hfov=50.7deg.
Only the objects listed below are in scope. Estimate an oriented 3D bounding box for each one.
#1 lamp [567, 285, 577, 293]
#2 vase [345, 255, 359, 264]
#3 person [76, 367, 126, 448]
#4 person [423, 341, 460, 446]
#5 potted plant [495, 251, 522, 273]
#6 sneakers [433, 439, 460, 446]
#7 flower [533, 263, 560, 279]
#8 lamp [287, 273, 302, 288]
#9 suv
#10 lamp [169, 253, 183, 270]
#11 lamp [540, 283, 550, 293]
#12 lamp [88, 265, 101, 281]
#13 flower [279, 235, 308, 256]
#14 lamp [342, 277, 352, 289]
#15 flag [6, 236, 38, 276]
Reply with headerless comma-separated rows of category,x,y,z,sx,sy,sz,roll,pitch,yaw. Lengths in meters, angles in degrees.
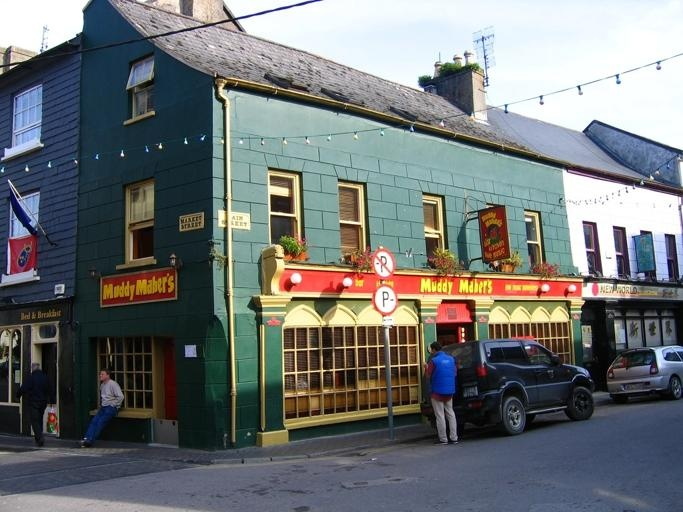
lamp,7.803,1.128,24.401,0.280,0.190,0.285,-1,-4,-17
vase,0.270,0.102,18.732,0.324,0.235,0.094,-5,-10,5
person,-5.989,3.831,18.207,0.978,1.840,0.721,0,-11,-16
person,2.338,3.170,16.719,0.654,2.293,0.434,-6,-11,15
potted plant,5.229,0.202,22.581,0.653,0.513,0.698,-8,-13,36
sneakers,2.428,4.294,16.556,0.186,0.224,0.562,3,-13,-20
flower,6.682,0.467,23.558,0.581,0.359,0.589,-3,-8,33
lamp,-1.099,0.558,17.683,0.342,0.342,0.288,0,-11,-18
suv,4.295,3.067,18.424,4.081,1.939,2.135,-1,-6,-38
lamp,-3.982,0.133,17.439,0.296,0.419,0.337,-1,-11,-14
lamp,6.643,1.068,23.532,0.271,0.314,0.278,3,4,2
lamp,-6.530,0.455,19.108,0.287,0.407,0.339,6,-8,-30
flower,-1.166,-0.247,17.945,0.403,0.558,0.827,-12,-13,37
lamp,0.172,0.693,18.597,0.248,0.275,0.264,5,-5,-11
flag,-9.488,-0.023,21.441,1.539,1.130,0.358,-13,-14,41
